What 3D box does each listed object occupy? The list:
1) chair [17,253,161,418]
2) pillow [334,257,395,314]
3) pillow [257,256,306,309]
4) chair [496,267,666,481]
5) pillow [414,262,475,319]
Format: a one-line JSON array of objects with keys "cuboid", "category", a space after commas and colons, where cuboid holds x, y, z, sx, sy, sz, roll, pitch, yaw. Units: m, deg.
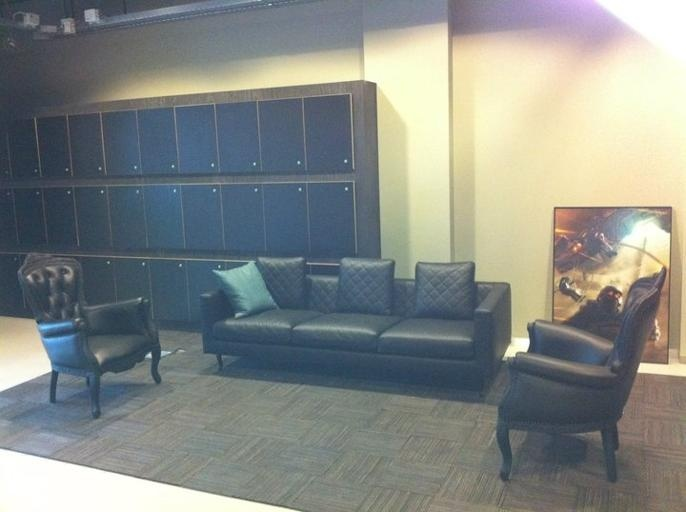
[{"cuboid": [-2.280, 0.684, 4.857, 1.130, 1.227, 1.107, -3, 8, -35], "category": "chair"}, {"cuboid": [0.237, 0.312, 5.301, 0.518, 0.489, 0.184, 4, -8, 17], "category": "pillow"}, {"cuboid": [-0.643, 0.304, 5.547, 0.497, 0.557, 0.184, -4, 7, 25], "category": "pillow"}, {"cuboid": [1.663, 0.816, 3.719, 0.997, 1.247, 0.994, 0, 9, 32], "category": "chair"}, {"cuboid": [0.998, 0.343, 5.118, 0.616, 0.591, 0.232, -1, -1, 12], "category": "pillow"}]
